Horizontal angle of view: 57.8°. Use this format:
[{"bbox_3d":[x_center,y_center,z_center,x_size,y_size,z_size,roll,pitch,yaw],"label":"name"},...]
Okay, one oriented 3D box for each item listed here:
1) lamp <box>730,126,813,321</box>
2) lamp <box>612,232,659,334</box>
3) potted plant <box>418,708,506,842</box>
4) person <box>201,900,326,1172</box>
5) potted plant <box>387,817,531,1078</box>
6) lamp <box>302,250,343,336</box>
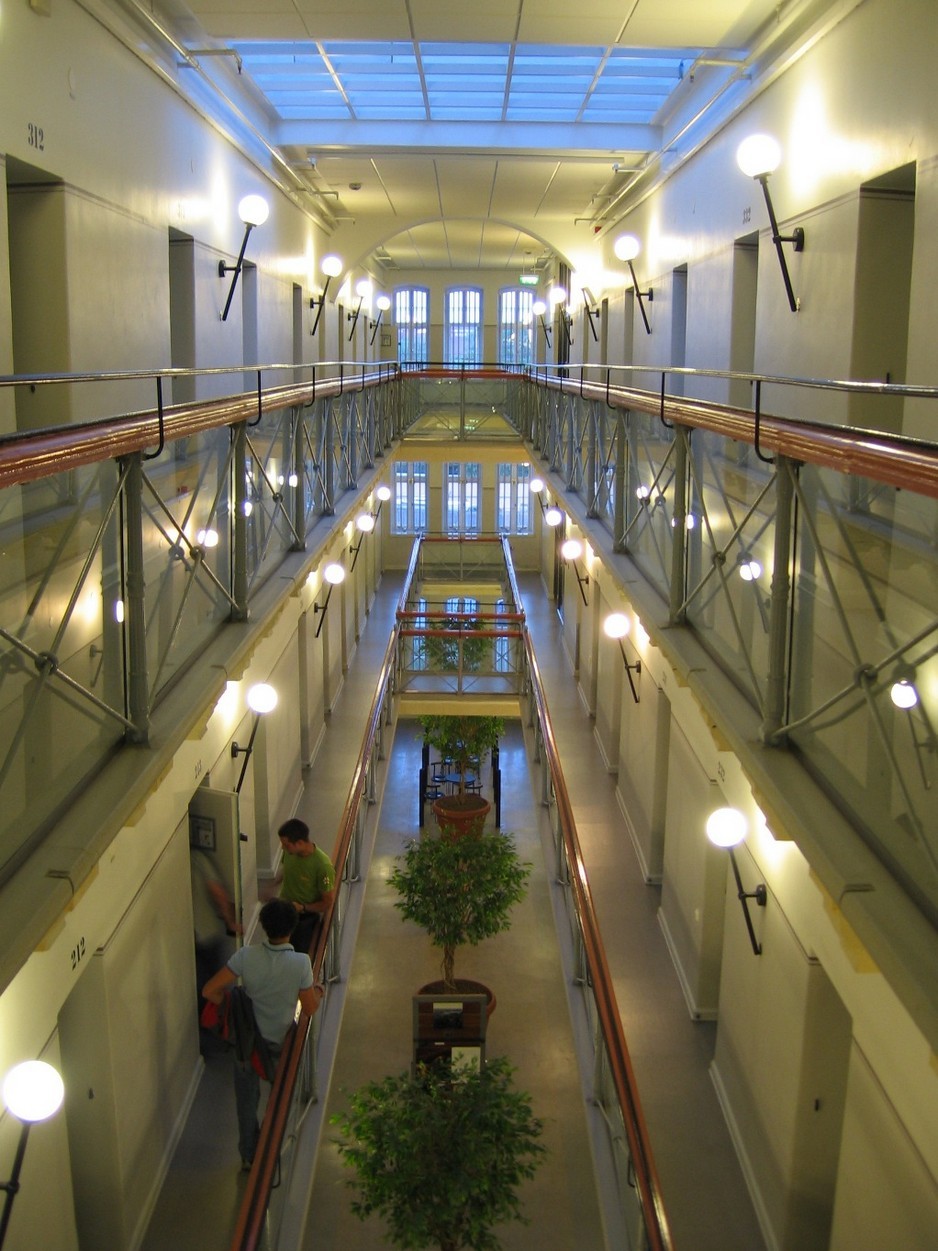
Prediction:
[{"bbox_3d":[1.906,-2.658,5.441,0.438,1.283,1.027,4,9,10],"label":"lamp"},{"bbox_3d":[2.016,-4.230,10.430,0.478,1.353,1.187,4,9,8],"label":"lamp"},{"bbox_3d":[-0.095,1.894,10.836,0.900,1.936,0.965,4,24,8],"label":"potted plant"},{"bbox_3d":[-0.915,1.762,3.736,0.417,1.476,0.365,3,20,-16],"label":"person"},{"bbox_3d":[-0.061,2.248,5.836,0.728,1.646,0.756,2,25,2],"label":"potted plant"},{"bbox_3d":[-2.178,-5.000,12.932,0.422,1.294,1.625,1,10,-10],"label":"lamp"}]
